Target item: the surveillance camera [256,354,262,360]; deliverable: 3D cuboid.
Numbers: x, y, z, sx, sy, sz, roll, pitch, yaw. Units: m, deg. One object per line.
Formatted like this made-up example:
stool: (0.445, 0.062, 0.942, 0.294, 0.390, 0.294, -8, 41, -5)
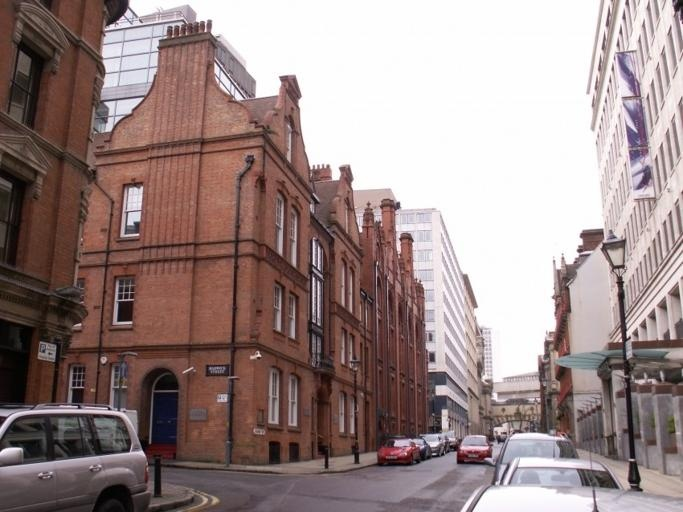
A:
surveillance camera: (-3.943, 4.765, 28.659, 0.239, 0.279, 0.259, 5, -6, -7)
